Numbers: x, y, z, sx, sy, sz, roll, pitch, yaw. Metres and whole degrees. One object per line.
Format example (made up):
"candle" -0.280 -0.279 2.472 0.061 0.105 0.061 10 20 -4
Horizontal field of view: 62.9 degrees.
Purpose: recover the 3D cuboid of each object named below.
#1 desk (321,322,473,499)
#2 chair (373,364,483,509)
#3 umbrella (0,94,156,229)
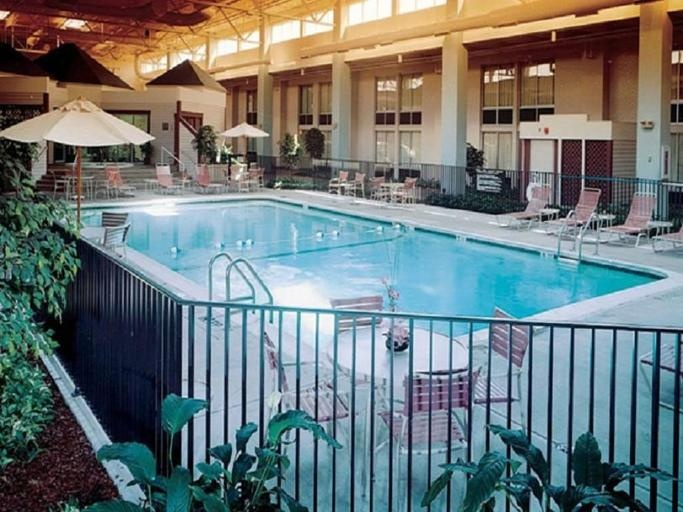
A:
"desk" 0.614 1.240 4.127 0.859 1.079 0.868 20 -37 -16
"chair" 0.692 1.355 4.440 0.715 1.143 0.828 -3 5 -21
"umbrella" -4.026 -1.864 9.004 2.248 1.831 2.283 6 8 29
